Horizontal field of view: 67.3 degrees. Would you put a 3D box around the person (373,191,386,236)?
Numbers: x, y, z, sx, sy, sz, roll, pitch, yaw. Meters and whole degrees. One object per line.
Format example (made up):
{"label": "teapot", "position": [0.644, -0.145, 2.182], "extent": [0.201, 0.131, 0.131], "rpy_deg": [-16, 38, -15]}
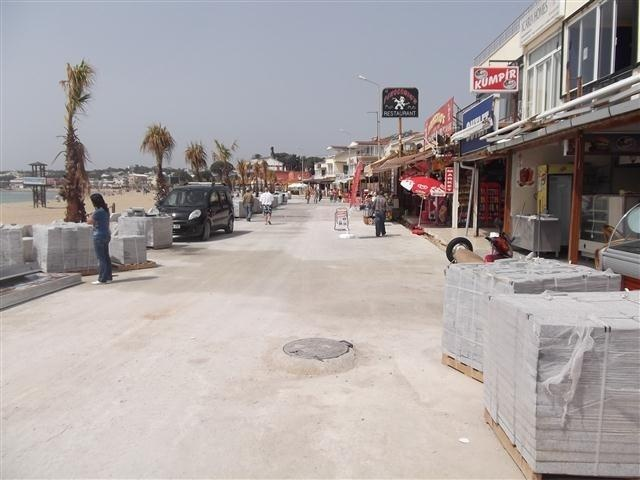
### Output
{"label": "person", "position": [2.606, -1.062, 21.038], "extent": [0.576, 1.711, 1.194], "rpy_deg": [1, 9, 6]}

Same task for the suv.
{"label": "suv", "position": [-5.497, -1.288, 21.094], "extent": [2.334, 2.236, 4.480], "rpy_deg": [2, 7, 8]}

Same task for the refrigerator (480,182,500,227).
{"label": "refrigerator", "position": [8.000, -1.680, 22.647], "extent": [1.018, 1.991, 0.407], "rpy_deg": [1, 9, 9]}

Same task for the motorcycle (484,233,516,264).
{"label": "motorcycle", "position": [3.660, 0.129, 10.105], "extent": [0.727, 0.394, 1.008], "rpy_deg": [0, 8, -6]}

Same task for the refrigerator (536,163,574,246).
{"label": "refrigerator", "position": [7.665, -1.229, 15.751], "extent": [0.834, 2.500, 1.160], "rpy_deg": [-4, 18, 6]}
